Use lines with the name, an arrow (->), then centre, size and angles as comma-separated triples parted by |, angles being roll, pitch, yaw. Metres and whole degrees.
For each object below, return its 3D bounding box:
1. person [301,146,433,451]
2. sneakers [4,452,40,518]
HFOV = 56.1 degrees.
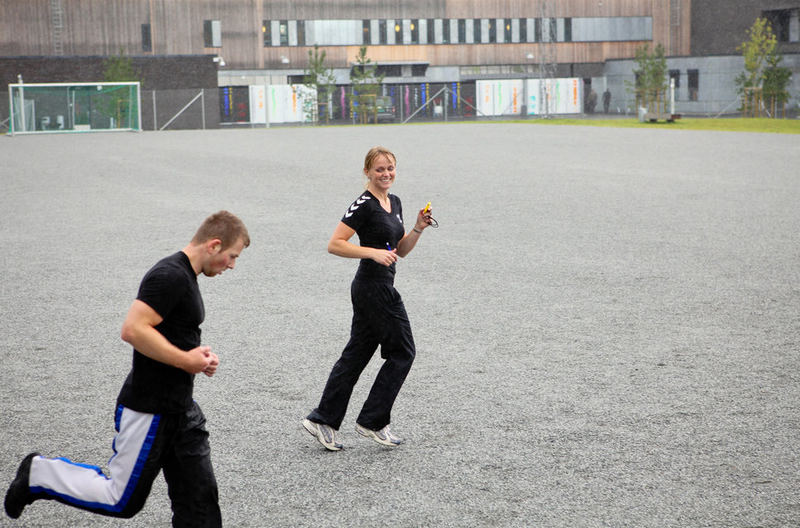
person -> -0.263, 0.283, 6.568 | 1.015, 2.501, 0.947 | 0, 14, 2
sneakers -> -2.598, 1.516, 5.115 | 0.176, 0.493, 0.218 | 13, 14, 30
